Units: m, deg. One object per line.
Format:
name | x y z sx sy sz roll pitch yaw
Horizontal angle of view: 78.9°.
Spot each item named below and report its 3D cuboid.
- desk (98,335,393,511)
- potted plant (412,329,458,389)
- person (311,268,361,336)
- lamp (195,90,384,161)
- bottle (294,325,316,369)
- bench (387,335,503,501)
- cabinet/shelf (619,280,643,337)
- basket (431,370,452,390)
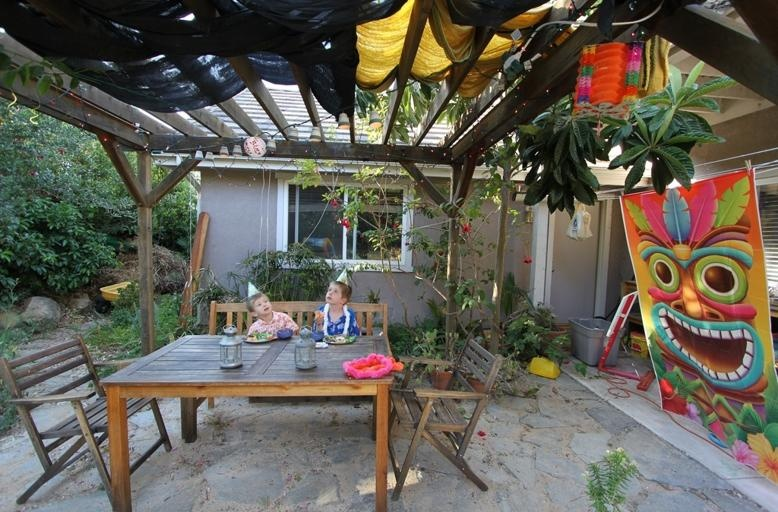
desk | -1.213 1.568 4.403 2.362 1.015 0.974 -2 1 4
potted plant | 0.569 1.303 6.093 0.670 0.866 0.614 0 -2 -4
person | -0.586 0.711 5.212 0.544 0.872 0.469 -1 -1 1
lamp | -1.268 -1.670 5.887 2.131 0.882 1.495 -2 0 -25
bottle | -0.790 0.849 4.345 0.250 0.365 0.257 1 -4 0
bench | 0.453 1.534 4.673 0.996 1.264 1.038 1 6 -16
cabinet/shelf | 3.786 0.831 7.418 0.281 0.877 0.819 -1 1 26
basket | 0.647 1.509 5.768 0.303 0.234 0.306 2 -7 -17
